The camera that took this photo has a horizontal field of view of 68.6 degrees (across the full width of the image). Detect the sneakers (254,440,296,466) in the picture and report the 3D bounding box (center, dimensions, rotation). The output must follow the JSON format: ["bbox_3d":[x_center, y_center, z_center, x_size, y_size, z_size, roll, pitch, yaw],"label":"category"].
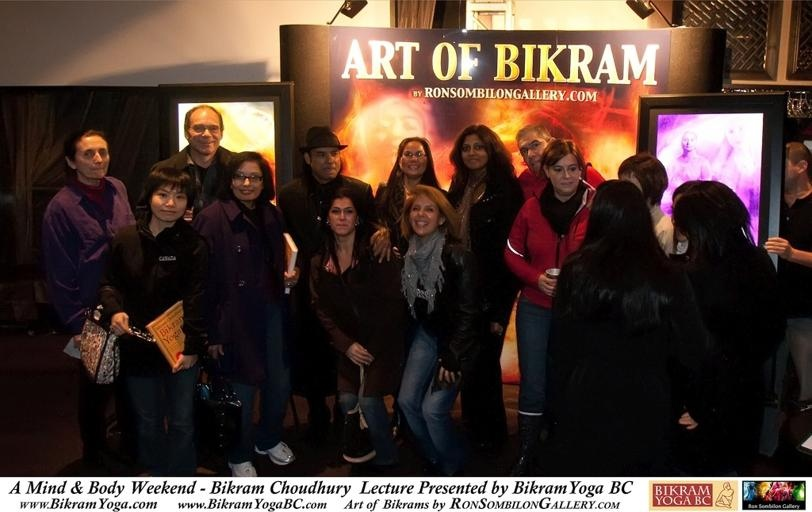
[{"bbox_3d":[-1.037,1.562,4.772,0.296,0.119,0.152,5,7,15],"label":"sneakers"}]

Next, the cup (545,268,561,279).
[{"bbox_3d":[1.112,0.129,4.464,0.089,0.061,0.080,-12,20,-43],"label":"cup"}]

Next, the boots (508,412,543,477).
[{"bbox_3d":[0.930,1.433,4.506,0.234,0.429,0.223,1,4,12],"label":"boots"}]

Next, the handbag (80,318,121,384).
[{"bbox_3d":[-2.199,0.641,4.318,0.193,0.443,0.487,-2,12,-41],"label":"handbag"}]

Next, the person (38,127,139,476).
[{"bbox_3d":[-2.426,0.327,4.674,0.512,2.616,0.591,3,4,37],"label":"person"}]

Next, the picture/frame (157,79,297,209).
[{"bbox_3d":[-1.543,-0.957,5.113,1.321,1.248,0.086,-1,3,-8],"label":"picture/frame"}]

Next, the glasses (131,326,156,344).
[{"bbox_3d":[-1.815,0.552,4.136,0.212,0.054,0.060,23,-1,2],"label":"glasses"}]

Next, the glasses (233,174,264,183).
[{"bbox_3d":[-1.168,-0.575,4.429,0.206,0.052,0.039,-1,4,-17],"label":"glasses"}]

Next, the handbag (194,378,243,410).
[{"bbox_3d":[-1.391,1.021,4.405,0.236,0.224,0.080,-2,-23,-12],"label":"handbag"}]
